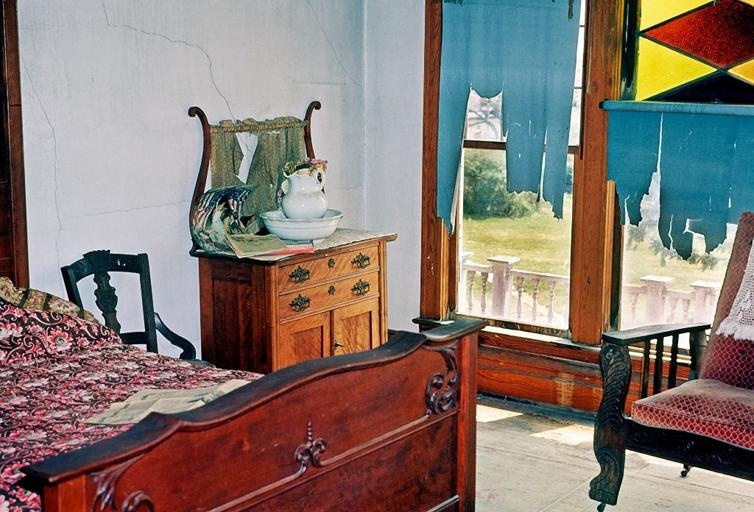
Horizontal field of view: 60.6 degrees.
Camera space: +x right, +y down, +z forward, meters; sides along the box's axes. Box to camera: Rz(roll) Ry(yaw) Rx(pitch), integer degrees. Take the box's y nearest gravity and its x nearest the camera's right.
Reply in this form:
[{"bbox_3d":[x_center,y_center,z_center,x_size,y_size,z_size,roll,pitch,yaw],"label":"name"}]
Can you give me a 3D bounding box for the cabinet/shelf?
[{"bbox_3d":[-0.479,0.395,4.031,0.691,0.990,1.063,11,15,43],"label":"cabinet/shelf"}]
